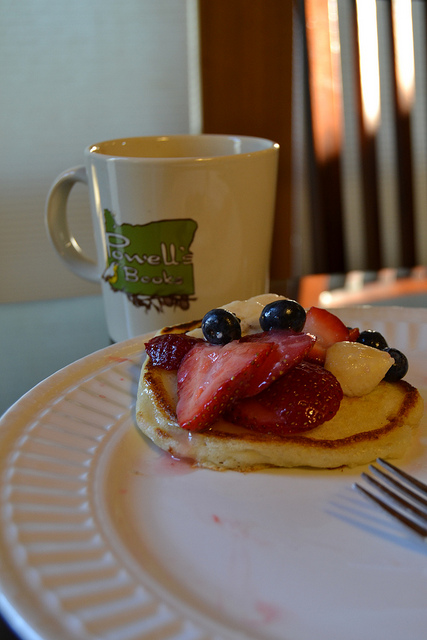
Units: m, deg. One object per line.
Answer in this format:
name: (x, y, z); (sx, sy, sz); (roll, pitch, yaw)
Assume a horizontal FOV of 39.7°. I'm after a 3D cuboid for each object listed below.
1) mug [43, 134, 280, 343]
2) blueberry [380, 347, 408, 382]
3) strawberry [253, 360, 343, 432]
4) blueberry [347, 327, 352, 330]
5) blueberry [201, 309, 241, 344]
mug: (-0.053, -0.186, 1.214); (0.495, 0.394, 0.377); (-9, 26, -6)
blueberry: (0.272, 0.067, 0.870); (0.047, 0.043, 0.044); (-4, 18, 4)
strawberry: (0.120, 0.101, 0.826); (0.116, 0.072, 0.119); (-2, 12, -17)
blueberry: (0.236, 0.014, 1.025); (0.008, 0.007, 0.010); (-1, 4, -11)
blueberry: (0.011, 0.010, 0.840); (0.037, 0.058, 0.091); (-1, 11, 6)
